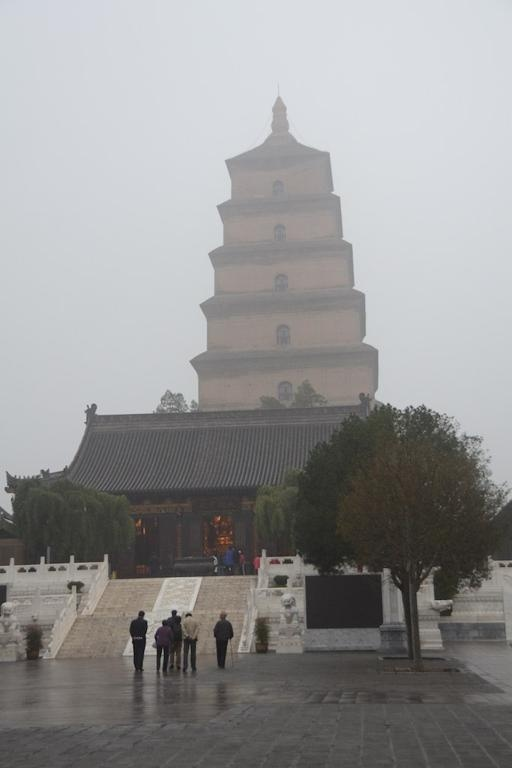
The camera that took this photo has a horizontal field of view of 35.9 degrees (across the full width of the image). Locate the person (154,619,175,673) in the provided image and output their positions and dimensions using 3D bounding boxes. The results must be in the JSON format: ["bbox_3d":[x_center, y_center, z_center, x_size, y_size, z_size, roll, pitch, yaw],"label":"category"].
[{"bbox_3d":[-1.548,4.306,13.201,0.236,0.907,0.227,6,10,10],"label":"person"}]

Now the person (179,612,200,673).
[{"bbox_3d":[-1.085,4.271,13.119,0.260,0.957,0.327,-13,-26,26],"label":"person"}]

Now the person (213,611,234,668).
[{"bbox_3d":[-0.545,4.206,13.140,0.254,0.933,0.234,3,6,-3],"label":"person"}]

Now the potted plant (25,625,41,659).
[{"bbox_3d":[-5.304,6.106,18.739,0.336,0.782,0.598,2,-13,-7],"label":"potted plant"}]

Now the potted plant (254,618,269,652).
[{"bbox_3d":[0.116,5.933,18.620,0.333,0.903,0.389,14,-24,-41],"label":"potted plant"}]

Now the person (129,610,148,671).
[{"bbox_3d":[-1.982,4.335,13.474,0.270,1.142,0.300,6,16,2],"label":"person"}]
